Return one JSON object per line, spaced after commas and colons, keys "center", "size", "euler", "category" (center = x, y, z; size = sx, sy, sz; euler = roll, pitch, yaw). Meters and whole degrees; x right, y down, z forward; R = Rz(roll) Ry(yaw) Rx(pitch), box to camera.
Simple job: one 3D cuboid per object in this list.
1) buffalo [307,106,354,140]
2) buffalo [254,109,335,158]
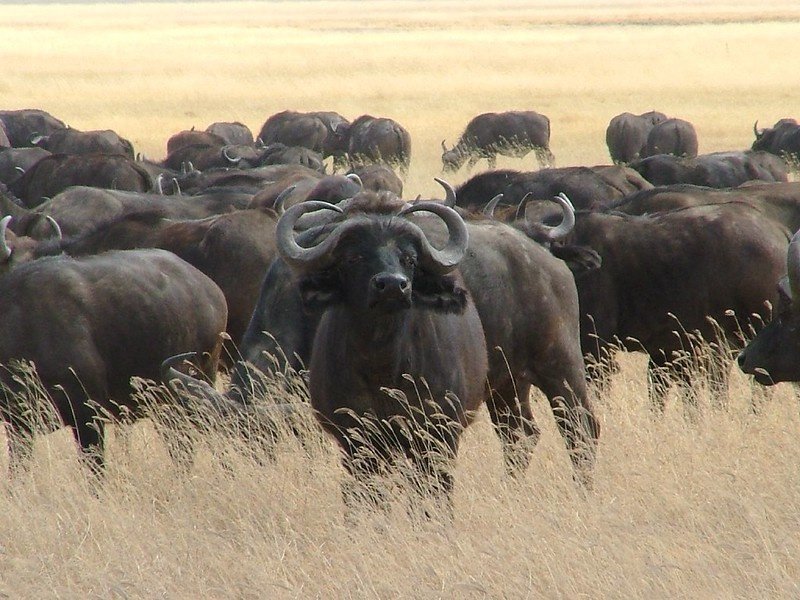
{"center": [-1.873, -5.114, 43.152], "size": [0.918, 0.752, 1.755], "euler": [-6, -2, 14], "category": "buffalo"}
{"center": [-3.053, -4.787, 41.973], "size": [1.860, 1.050, 2.403], "euler": [-11, 13, -37], "category": "buffalo"}
